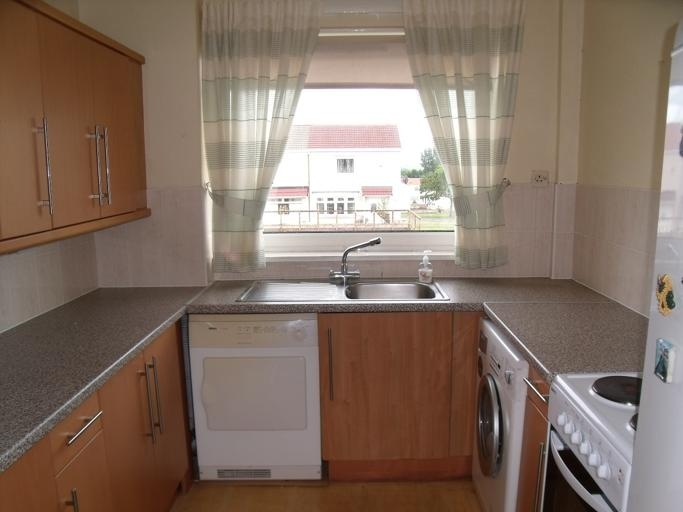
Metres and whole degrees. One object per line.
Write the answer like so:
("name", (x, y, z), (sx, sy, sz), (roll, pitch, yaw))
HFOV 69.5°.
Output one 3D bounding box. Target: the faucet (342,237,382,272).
("faucet", (0.103, -0.023, 3.180), (0.238, 0.236, 0.455), (-2, 10, -1))
